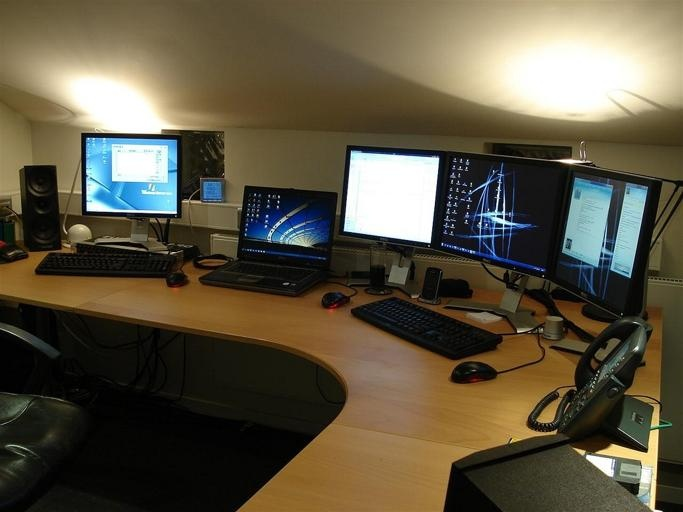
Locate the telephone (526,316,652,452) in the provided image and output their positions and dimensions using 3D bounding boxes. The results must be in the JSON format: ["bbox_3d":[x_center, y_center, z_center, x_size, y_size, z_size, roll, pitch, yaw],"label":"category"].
[{"bbox_3d":[0.690,0.321,1.429,0.312,0.264,0.318,4,10,37],"label":"telephone"}]

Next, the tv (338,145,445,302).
[{"bbox_3d":[0.226,-0.136,2.280,0.573,0.736,0.269,10,13,24],"label":"tv"}]

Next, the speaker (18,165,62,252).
[{"bbox_3d":[-1.557,-0.241,2.739,0.170,0.435,0.104,-2,13,-15],"label":"speaker"}]

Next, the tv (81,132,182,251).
[{"bbox_3d":[-1.054,-0.342,2.672,0.632,0.681,0.228,2,5,4],"label":"tv"}]

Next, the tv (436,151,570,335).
[{"bbox_3d":[0.612,-0.047,2.015,0.300,0.645,0.568,-11,21,-38],"label":"tv"}]

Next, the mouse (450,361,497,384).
[{"bbox_3d":[0.391,0.349,1.584,0.114,0.037,0.064,-8,18,-10],"label":"mouse"}]

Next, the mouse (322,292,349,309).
[{"bbox_3d":[-0.034,0.172,2.106,0.087,0.030,0.061,-9,14,-40],"label":"mouse"}]

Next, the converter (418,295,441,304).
[{"bbox_3d":[0.356,0.177,2.196,0.055,0.016,0.039,6,10,32],"label":"converter"}]

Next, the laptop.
[{"bbox_3d":[-0.298,-0.072,2.395,0.572,0.413,0.507,9,19,22],"label":"laptop"}]

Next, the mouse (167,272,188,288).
[{"bbox_3d":[-0.727,0.106,2.323,0.053,0.031,0.088,-1,7,3],"label":"mouse"}]
